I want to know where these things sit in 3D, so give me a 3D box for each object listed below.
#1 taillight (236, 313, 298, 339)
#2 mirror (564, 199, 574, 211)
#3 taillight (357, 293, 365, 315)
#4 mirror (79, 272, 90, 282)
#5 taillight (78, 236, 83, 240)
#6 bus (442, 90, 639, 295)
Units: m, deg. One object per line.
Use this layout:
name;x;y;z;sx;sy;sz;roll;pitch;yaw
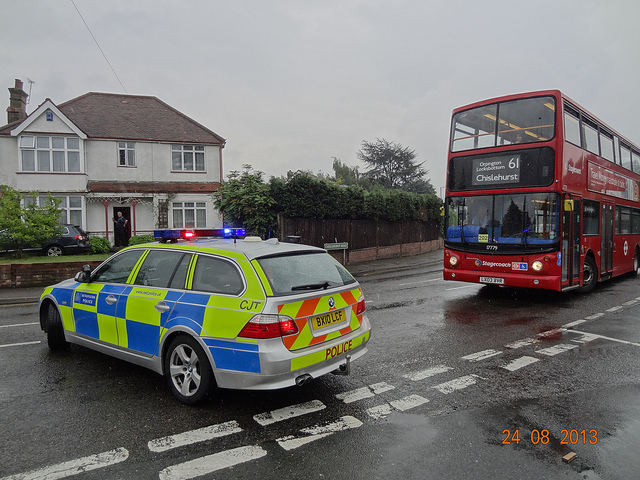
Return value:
taillight;-0.623;1.030;5.491;0.699;0.283;0.133;-1;9;-9
mirror;5.838;-0.824;10.997;0.246;0.260;0.136;3;3;3
taillight;0.567;0.945;6.579;0.043;0.272;0.306;3;10;18
mirror;-3.586;0.578;7.079;0.135;0.145;0.038;3;1;3
taillight;-10.099;-0.064;19.638;0.060;0.147;0.168;3;10;15
bus;8.136;-1.179;13.992;10.001;5.679;2.909;-6;11;-32
